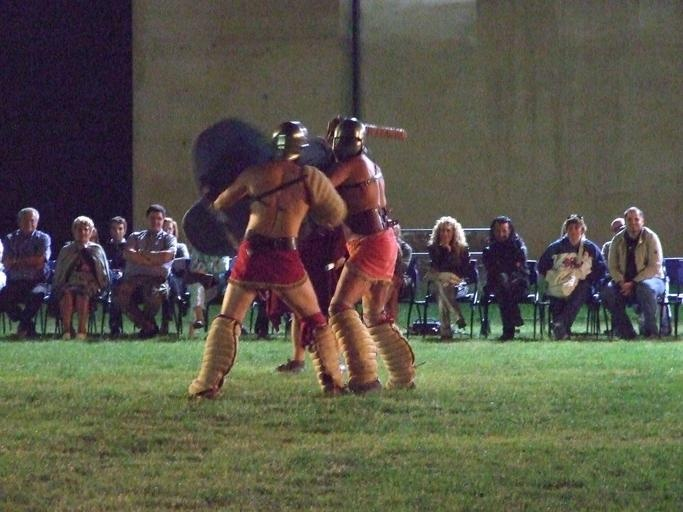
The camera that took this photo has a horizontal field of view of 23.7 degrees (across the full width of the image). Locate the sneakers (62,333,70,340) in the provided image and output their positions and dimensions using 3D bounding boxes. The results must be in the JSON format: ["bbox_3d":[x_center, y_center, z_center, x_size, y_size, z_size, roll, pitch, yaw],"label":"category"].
[{"bbox_3d":[-3.833,1.103,22.631,0.120,0.107,0.180,1,-5,-10],"label":"sneakers"}]

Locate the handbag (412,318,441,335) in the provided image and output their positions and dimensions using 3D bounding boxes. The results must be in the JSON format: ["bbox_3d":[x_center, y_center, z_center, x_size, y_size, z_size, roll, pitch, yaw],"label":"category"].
[{"bbox_3d":[1.233,1.008,23.331,0.324,0.169,0.217,-1,3,12],"label":"handbag"}]

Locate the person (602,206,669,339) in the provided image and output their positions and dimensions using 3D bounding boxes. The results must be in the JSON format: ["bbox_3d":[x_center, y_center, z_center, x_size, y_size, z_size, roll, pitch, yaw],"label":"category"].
[{"bbox_3d":[4.110,0.243,22.600,0.836,1.828,0.450,-1,-4,11],"label":"person"}]

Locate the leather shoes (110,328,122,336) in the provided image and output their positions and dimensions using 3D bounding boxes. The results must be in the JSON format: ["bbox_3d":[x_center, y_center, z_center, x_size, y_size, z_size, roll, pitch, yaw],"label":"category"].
[{"bbox_3d":[-3.190,1.073,23.113,0.124,0.100,0.121,3,-4,-36],"label":"leather shoes"}]

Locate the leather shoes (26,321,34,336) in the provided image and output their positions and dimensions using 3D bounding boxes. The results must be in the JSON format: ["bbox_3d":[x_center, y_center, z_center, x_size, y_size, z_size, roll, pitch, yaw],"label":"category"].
[{"bbox_3d":[-4.408,1.019,22.999,0.122,0.224,0.289,1,-5,-11],"label":"leather shoes"}]

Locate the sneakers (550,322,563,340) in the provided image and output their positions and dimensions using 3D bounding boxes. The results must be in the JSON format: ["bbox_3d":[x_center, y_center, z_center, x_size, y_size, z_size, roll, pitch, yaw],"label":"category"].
[{"bbox_3d":[3.016,1.045,22.677,0.149,0.254,0.402,1,-5,-11],"label":"sneakers"}]

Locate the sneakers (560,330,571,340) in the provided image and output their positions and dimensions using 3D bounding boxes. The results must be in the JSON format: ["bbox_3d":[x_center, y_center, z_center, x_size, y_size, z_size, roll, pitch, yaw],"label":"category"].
[{"bbox_3d":[3.147,1.090,22.591,0.088,0.130,0.128,2,-14,-3],"label":"sneakers"}]

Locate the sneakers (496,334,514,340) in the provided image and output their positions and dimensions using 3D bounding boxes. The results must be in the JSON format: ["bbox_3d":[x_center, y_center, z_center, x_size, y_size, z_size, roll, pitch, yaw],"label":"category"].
[{"bbox_3d":[2.301,1.129,22.580,0.227,0.108,0.275,-1,-5,12],"label":"sneakers"}]

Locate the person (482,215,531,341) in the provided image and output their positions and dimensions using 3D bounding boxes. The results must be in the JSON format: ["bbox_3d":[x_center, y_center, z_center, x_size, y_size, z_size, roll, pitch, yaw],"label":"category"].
[{"bbox_3d":[2.325,0.312,22.795,0.671,1.731,0.388,-1,-4,5],"label":"person"}]

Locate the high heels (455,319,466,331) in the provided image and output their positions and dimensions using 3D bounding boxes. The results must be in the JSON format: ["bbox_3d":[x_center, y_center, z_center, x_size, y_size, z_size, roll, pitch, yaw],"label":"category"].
[{"bbox_3d":[1.707,0.968,22.961,0.127,0.160,0.138,0,2,-12],"label":"high heels"}]

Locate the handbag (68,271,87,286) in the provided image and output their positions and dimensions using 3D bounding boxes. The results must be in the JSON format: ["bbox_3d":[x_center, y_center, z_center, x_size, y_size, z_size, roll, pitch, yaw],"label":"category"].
[{"bbox_3d":[-3.728,0.350,22.952,0.281,0.283,0.168,6,-7,-16],"label":"handbag"}]

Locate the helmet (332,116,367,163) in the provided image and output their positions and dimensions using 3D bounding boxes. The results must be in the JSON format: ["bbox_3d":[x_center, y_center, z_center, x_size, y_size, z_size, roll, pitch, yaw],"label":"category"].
[{"bbox_3d":[0.107,-1.386,19.316,0.350,0.530,0.487,7,13,25],"label":"helmet"}]

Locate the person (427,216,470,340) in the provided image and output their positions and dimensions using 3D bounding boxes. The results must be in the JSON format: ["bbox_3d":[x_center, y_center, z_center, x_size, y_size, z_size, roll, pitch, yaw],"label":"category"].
[{"bbox_3d":[1.556,0.304,22.978,0.605,1.729,0.456,0,-4,3],"label":"person"}]

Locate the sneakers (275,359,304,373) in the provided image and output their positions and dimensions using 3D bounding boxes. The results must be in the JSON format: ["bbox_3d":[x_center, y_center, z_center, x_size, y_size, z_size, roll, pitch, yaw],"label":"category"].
[{"bbox_3d":[-0.620,1.363,20.351,0.367,0.188,0.143,2,-5,12],"label":"sneakers"}]
